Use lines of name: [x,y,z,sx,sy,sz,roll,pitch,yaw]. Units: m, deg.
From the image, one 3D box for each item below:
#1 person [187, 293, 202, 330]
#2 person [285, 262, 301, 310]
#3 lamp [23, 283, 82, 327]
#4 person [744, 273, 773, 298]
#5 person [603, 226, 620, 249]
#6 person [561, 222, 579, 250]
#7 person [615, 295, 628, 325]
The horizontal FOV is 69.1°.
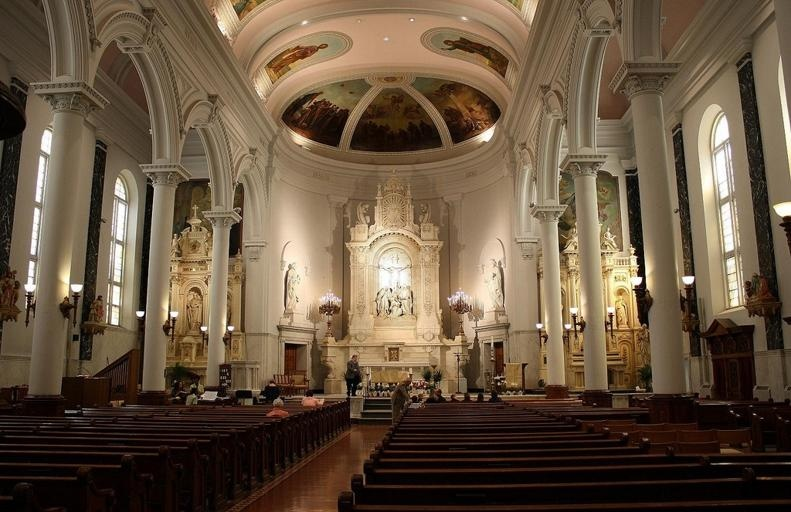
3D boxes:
person: [-8.925,2.443,25.412,0.689,1.753,0.195,-4,-13,13]
person: [-4.915,1.503,27.272,0.326,2.313,1.004,-6,-14,20]
lamp: [-8.597,1.184,14.256,1.830,1.136,0.499,-3,-18,2]
person: [10.106,0.845,15.965,0.576,0.787,0.739,7,-12,4]
person: [9.037,-0.739,24.192,0.778,1.106,0.574,-3,-13,9]
person: [7.408,-0.781,24.559,0.643,1.234,0.873,-3,-13,9]
person: [9.268,2.236,23.585,0.497,1.234,0.173,0,-13,-2]
